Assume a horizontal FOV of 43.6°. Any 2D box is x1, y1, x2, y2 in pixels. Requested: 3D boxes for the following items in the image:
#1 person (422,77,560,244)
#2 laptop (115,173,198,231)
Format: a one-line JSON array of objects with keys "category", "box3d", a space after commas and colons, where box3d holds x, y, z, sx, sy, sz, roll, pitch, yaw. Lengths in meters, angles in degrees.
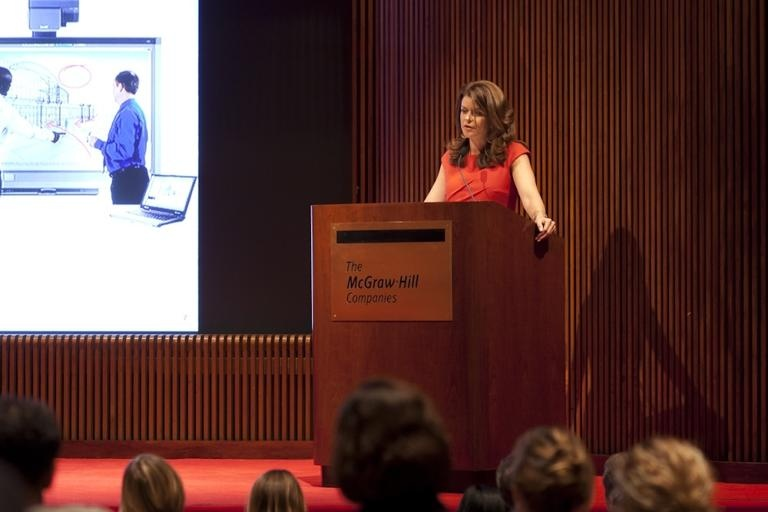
[{"category": "person", "box3d": [0.532, -0.463, 5.302, 0.959, 0.974, 0.528, -2, 2, 37]}, {"category": "laptop", "box3d": [-1.591, -0.392, 6.826, 0.407, 0.322, 0.410, 8, 6, 21]}]
